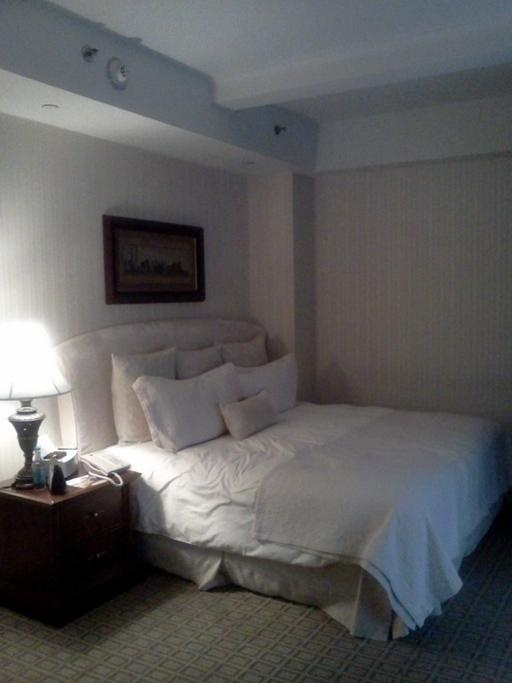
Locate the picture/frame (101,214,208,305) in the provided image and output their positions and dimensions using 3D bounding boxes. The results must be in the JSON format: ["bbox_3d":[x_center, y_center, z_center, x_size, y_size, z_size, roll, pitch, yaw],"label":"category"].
[{"bbox_3d":[-0.683,-0.534,3.656,0.051,0.395,0.703,4,10,35],"label":"picture/frame"}]

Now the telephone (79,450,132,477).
[{"bbox_3d":[-0.756,0.608,2.828,0.149,0.035,0.147,20,7,8],"label":"telephone"}]

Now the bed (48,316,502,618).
[{"bbox_3d":[0.305,0.505,3.311,2.051,1.294,1.958,0,3,35],"label":"bed"}]
